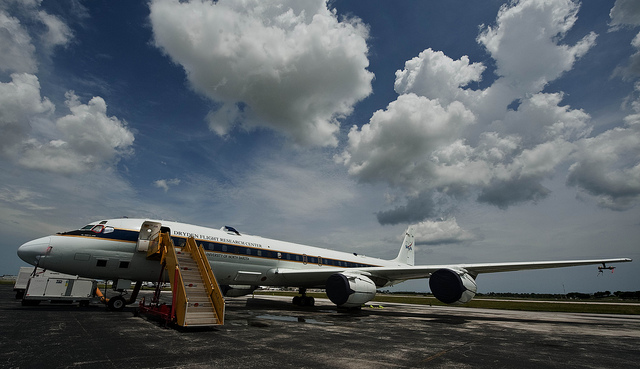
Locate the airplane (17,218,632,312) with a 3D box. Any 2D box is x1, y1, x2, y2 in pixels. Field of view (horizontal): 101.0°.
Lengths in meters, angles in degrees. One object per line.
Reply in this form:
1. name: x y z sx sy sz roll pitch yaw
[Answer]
1. airplane: -3.457 7.336 22.457 32.153 6.712 13.270 3 -20 -9
